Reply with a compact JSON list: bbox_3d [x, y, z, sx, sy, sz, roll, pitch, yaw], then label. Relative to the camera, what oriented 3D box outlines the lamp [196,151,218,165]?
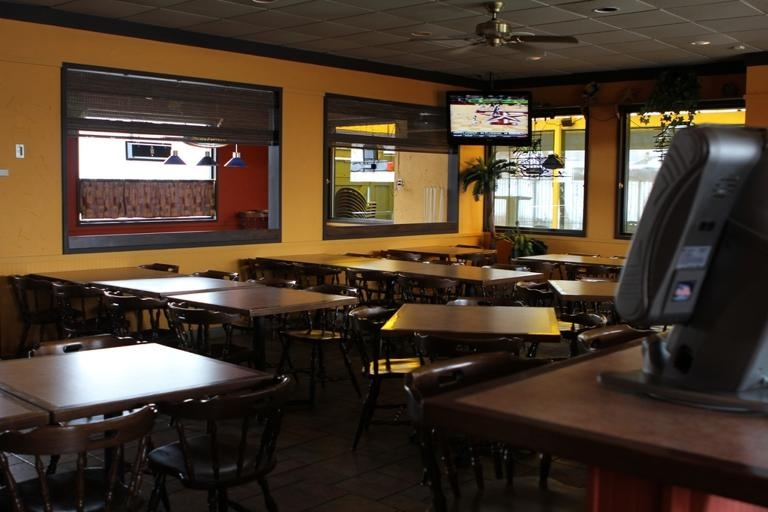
[{"bbox_3d":[-3.323,-1.855,10.616,0.280,0.321,1.395,-7,8,-15],"label":"lamp"}]

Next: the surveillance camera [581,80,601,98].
[{"bbox_3d":[3.464,-2.796,9.443,0.255,0.268,0.095,-2,11,14],"label":"surveillance camera"}]

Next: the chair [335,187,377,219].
[{"bbox_3d":[-0.662,-1.101,12.442,1.224,0.740,0.495,3,-1,-4],"label":"chair"}]

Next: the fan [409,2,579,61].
[{"bbox_3d":[1.090,-2.199,5.697,1.434,0.265,1.337,4,3,28],"label":"fan"}]

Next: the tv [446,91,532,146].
[{"bbox_3d":[1.622,-2.191,8.891,1.758,0.785,0.157,-9,18,-30],"label":"tv"}]
